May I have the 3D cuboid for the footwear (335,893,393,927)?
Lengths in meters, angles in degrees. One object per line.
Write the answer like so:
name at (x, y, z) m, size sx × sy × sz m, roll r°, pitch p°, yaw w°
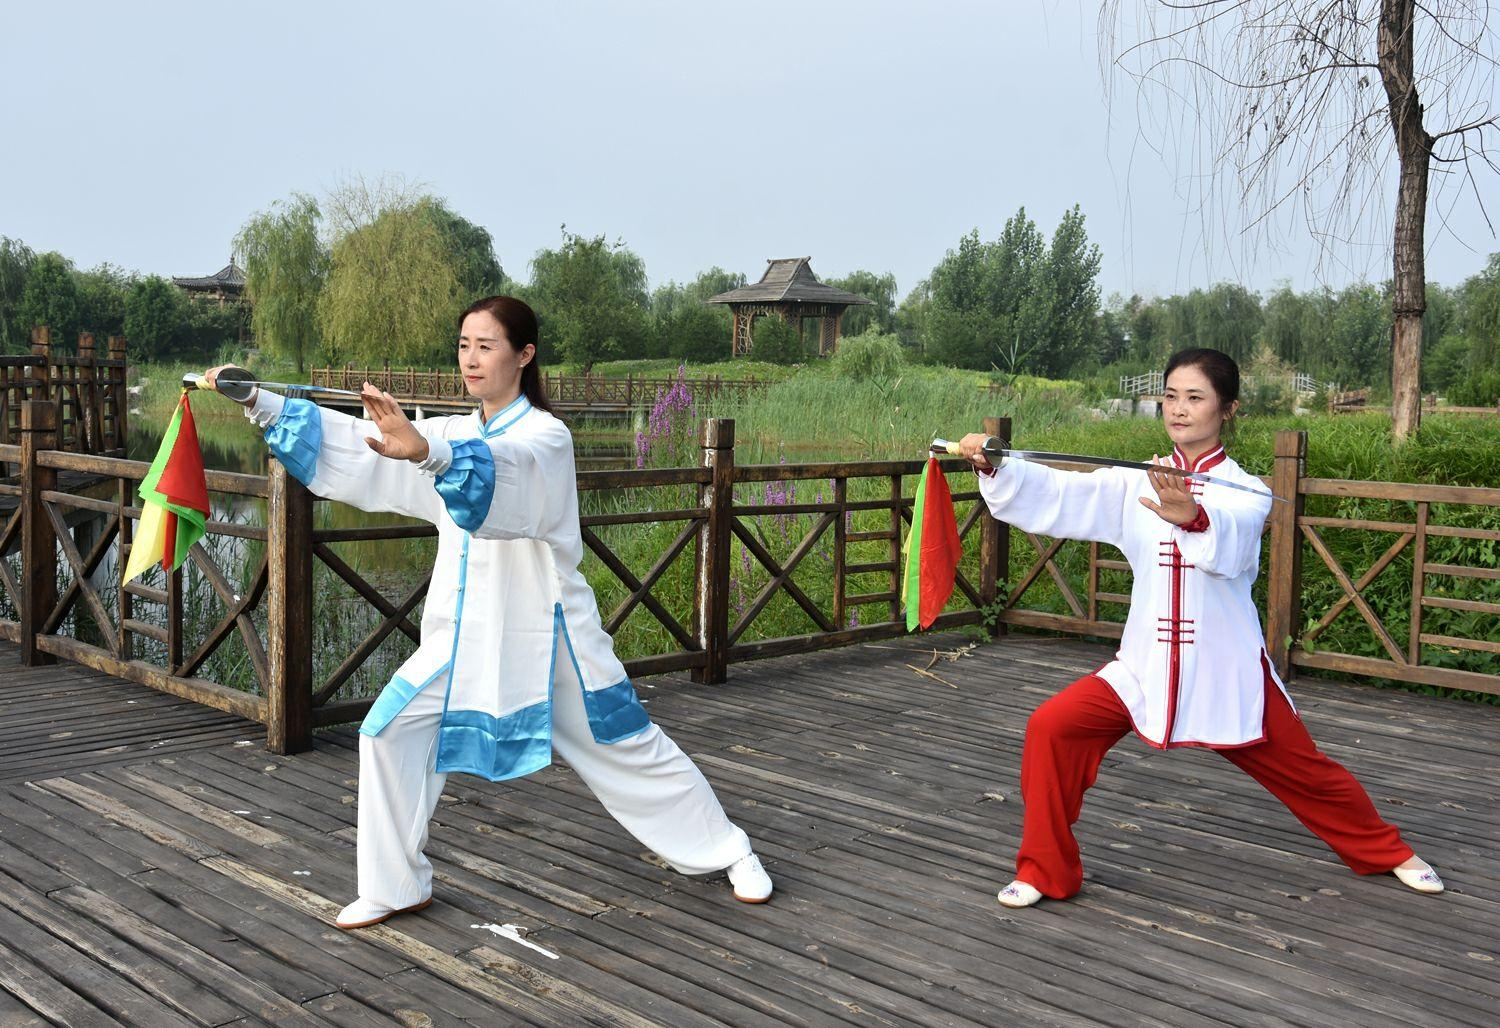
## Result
footwear at (-1.294, 1.332, 4.058) m, size 0.161 × 0.072 × 0.093 m, roll 5°, pitch 2°, yaw -14°

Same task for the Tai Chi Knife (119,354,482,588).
Tai Chi Knife at (-1.779, -0.062, 4.362) m, size 0.750 × 0.836 × 0.275 m, roll 6°, pitch 7°, yaw 9°

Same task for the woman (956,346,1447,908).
woman at (1.606, 0.429, 4.224) m, size 1.490 × 2.130 × 0.907 m, roll -2°, pitch 7°, yaw 12°

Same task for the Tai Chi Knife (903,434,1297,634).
Tai Chi Knife at (1.114, -0.024, 4.514) m, size 0.880 × 1.020 × 0.414 m, roll 6°, pitch 10°, yaw -2°

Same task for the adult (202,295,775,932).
adult at (-0.770, 0.356, 4.068) m, size 1.942 × 2.110 × 1.001 m, roll 1°, pitch 3°, yaw -26°

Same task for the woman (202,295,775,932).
woman at (-0.763, 0.375, 4.081) m, size 1.935 × 2.144 × 0.961 m, roll 2°, pitch 3°, yaw -25°

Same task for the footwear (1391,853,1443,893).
footwear at (2.440, 1.324, 4.430) m, size 0.087 × 0.049 × 0.178 m, roll -31°, pitch 7°, yaw -2°
